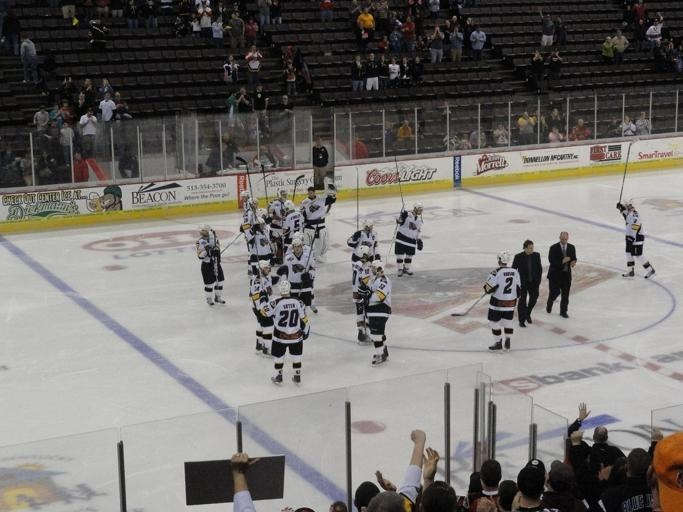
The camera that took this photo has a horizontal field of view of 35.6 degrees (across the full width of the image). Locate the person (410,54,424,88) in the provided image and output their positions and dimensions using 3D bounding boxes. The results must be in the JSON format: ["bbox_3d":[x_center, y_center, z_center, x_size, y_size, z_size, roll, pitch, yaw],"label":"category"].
[{"bbox_3d":[2.569,-6.221,35.939,0.357,0.879,1.145,-2,8,11],"label":"person"}]

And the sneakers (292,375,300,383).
[{"bbox_3d":[-0.800,2.155,18.777,0.068,0.121,0.184,-3,24,-11],"label":"sneakers"}]

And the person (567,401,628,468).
[{"bbox_3d":[3.401,2.450,14.437,0.545,0.886,1.071,-5,48,4],"label":"person"}]

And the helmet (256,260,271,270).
[{"bbox_3d":[-1.448,0.163,20.067,0.273,0.171,0.165,-14,31,-10],"label":"helmet"}]

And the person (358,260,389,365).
[{"bbox_3d":[0.654,1.036,19.580,0.477,1.832,0.440,-7,10,-20],"label":"person"}]

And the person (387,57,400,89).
[{"bbox_3d":[1.748,-6.090,35.324,0.391,0.929,0.541,-3,9,2],"label":"person"}]

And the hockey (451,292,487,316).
[{"bbox_3d":[2.615,1.034,21.964,0.275,0.206,1.594,16,17,35],"label":"hockey"}]

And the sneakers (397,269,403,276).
[{"bbox_3d":[1.338,0.363,24.323,0.144,0.153,0.392,-1,6,4],"label":"sneakers"}]

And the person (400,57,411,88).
[{"bbox_3d":[2.077,-6.138,35.516,0.336,0.885,0.447,-9,11,-28],"label":"person"}]

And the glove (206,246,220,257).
[{"bbox_3d":[-2.668,-0.118,22.188,0.118,0.237,0.381,2,10,31],"label":"glove"}]

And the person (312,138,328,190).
[{"bbox_3d":[-0.605,-2.656,30.693,0.496,1.491,1.523,-4,9,-1],"label":"person"}]

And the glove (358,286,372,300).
[{"bbox_3d":[0.427,0.673,19.477,0.147,0.260,0.269,-9,11,-33],"label":"glove"}]

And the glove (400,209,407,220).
[{"bbox_3d":[1.403,-0.938,23.853,0.167,0.186,0.068,1,-1,-24],"label":"glove"}]

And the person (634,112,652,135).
[{"bbox_3d":[9.873,-4.323,34.589,0.244,0.770,0.629,5,12,44],"label":"person"}]

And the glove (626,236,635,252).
[{"bbox_3d":[6.386,-0.265,23.438,0.216,0.379,0.104,3,11,33],"label":"glove"}]

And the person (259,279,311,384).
[{"bbox_3d":[-0.978,1.344,18.753,0.793,1.824,0.525,-4,9,-3],"label":"person"}]

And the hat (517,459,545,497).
[{"bbox_3d":[2.261,2.555,12.569,0.360,0.254,0.505,2,36,18],"label":"hat"}]

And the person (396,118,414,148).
[{"bbox_3d":[1.916,-3.652,31.767,0.564,0.819,0.198,-9,11,-34],"label":"person"}]

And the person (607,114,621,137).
[{"bbox_3d":[8.802,-4.175,34.288,0.613,0.653,0.190,-6,10,-18],"label":"person"}]

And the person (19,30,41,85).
[{"bbox_3d":[-9.253,-5.732,31.454,0.476,1.266,0.617,-6,10,-15],"label":"person"}]

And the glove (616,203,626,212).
[{"bbox_3d":[6.215,-1.077,23.640,0.210,0.086,0.307,3,12,1],"label":"glove"}]

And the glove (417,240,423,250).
[{"bbox_3d":[1.794,-0.268,24.101,0.173,0.209,0.074,-3,-8,29],"label":"glove"}]

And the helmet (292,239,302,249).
[{"bbox_3d":[-0.888,-0.273,21.081,0.167,0.148,0.214,-4,8,-5],"label":"helmet"}]

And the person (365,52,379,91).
[{"bbox_3d":[0.985,-6.007,34.818,0.434,1.106,0.351,-3,9,1],"label":"person"}]

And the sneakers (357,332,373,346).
[{"bbox_3d":[0.439,1.579,20.492,0.327,0.266,0.155,-5,13,-10],"label":"sneakers"}]

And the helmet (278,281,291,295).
[{"bbox_3d":[-1.000,0.548,18.676,0.202,0.231,0.245,-3,9,0],"label":"helmet"}]

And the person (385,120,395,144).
[{"bbox_3d":[1.441,-3.690,31.620,0.357,0.713,0.134,-5,10,-8],"label":"person"}]

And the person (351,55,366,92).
[{"bbox_3d":[0.545,-5.930,34.618,0.449,1.057,0.362,-6,10,-14],"label":"person"}]

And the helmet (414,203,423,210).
[{"bbox_3d":[1.732,-1.129,23.980,0.174,0.133,0.217,-3,8,-1],"label":"helmet"}]

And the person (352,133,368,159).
[{"bbox_3d":[0.554,-3.219,31.484,0.478,0.681,0.102,-8,10,-26],"label":"person"}]

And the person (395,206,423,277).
[{"bbox_3d":[1.538,-0.385,24.296,0.630,1.593,0.861,-3,9,2],"label":"person"}]

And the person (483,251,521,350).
[{"bbox_3d":[3.069,0.828,20.104,0.637,1.822,0.653,-2,9,8],"label":"person"}]

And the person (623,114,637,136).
[{"bbox_3d":[9.341,-4.232,34.400,0.509,0.729,0.145,-8,10,-27],"label":"person"}]

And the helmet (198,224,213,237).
[{"bbox_3d":[-2.853,-0.553,22.063,0.264,0.248,0.199,-28,53,-10],"label":"helmet"}]

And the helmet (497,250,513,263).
[{"bbox_3d":[3.349,0.007,21.733,0.238,0.271,0.289,-21,29,-40],"label":"helmet"}]

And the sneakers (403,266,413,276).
[{"bbox_3d":[1.577,0.341,24.299,0.302,0.178,0.094,4,23,-4],"label":"sneakers"}]

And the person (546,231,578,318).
[{"bbox_3d":[4.457,0.335,21.584,0.610,1.748,0.863,-2,9,10],"label":"person"}]

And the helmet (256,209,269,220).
[{"bbox_3d":[-1.772,-0.934,23.525,0.182,0.231,0.235,16,54,44],"label":"helmet"}]

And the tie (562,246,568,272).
[{"bbox_3d":[4.506,0.047,21.225,0.110,0.469,0.094,-6,10,-11],"label":"tie"}]

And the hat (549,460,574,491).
[{"bbox_3d":[2.682,2.688,12.937,0.295,0.198,0.386,-2,36,11],"label":"hat"}]

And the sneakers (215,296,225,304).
[{"bbox_3d":[-2.536,0.920,22.592,0.293,0.180,0.094,4,21,4],"label":"sneakers"}]

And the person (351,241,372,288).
[{"bbox_3d":[0.408,0.143,21.073,0.311,0.398,0.955,-15,-29,-8],"label":"person"}]

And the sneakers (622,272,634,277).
[{"bbox_3d":[6.434,0.390,23.729,0.087,0.136,0.217,-14,19,-34],"label":"sneakers"}]

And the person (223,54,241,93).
[{"bbox_3d":[-3.507,-5.769,33.645,0.506,1.089,1.113,-4,9,-5],"label":"person"}]

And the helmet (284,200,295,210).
[{"bbox_3d":[-1.137,-1.191,24.240,0.260,0.215,0.196,-17,35,-30],"label":"helmet"}]

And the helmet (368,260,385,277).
[{"bbox_3d":[0.667,0.216,19.666,0.288,0.248,0.215,8,8,15],"label":"helmet"}]
